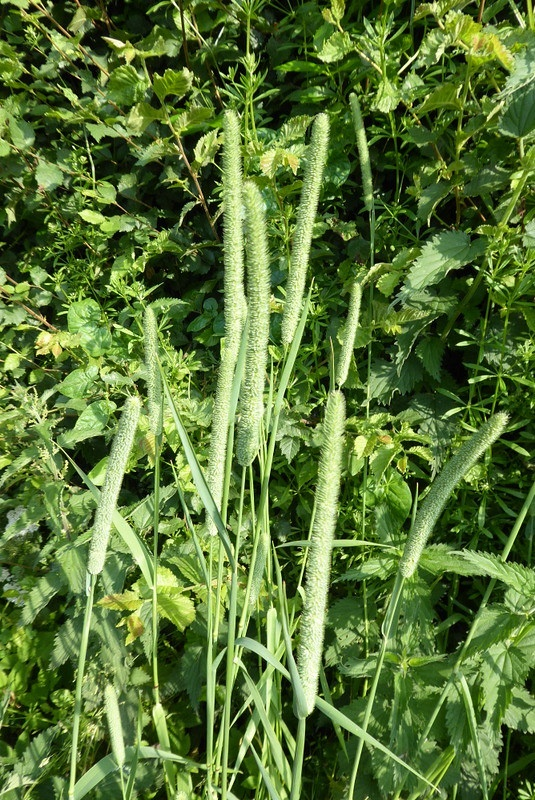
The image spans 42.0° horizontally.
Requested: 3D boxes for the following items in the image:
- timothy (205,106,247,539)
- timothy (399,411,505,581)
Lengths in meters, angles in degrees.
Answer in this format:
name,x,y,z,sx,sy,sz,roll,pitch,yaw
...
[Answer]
name,x,y,z,sx,sy,sz,roll,pitch,yaw
timothy,-0.085,-0.135,1.338,0.093,0.760,0.061,-4,13,-6
timothy,0.493,0.260,1.835,0.078,0.537,0.080,20,5,21
